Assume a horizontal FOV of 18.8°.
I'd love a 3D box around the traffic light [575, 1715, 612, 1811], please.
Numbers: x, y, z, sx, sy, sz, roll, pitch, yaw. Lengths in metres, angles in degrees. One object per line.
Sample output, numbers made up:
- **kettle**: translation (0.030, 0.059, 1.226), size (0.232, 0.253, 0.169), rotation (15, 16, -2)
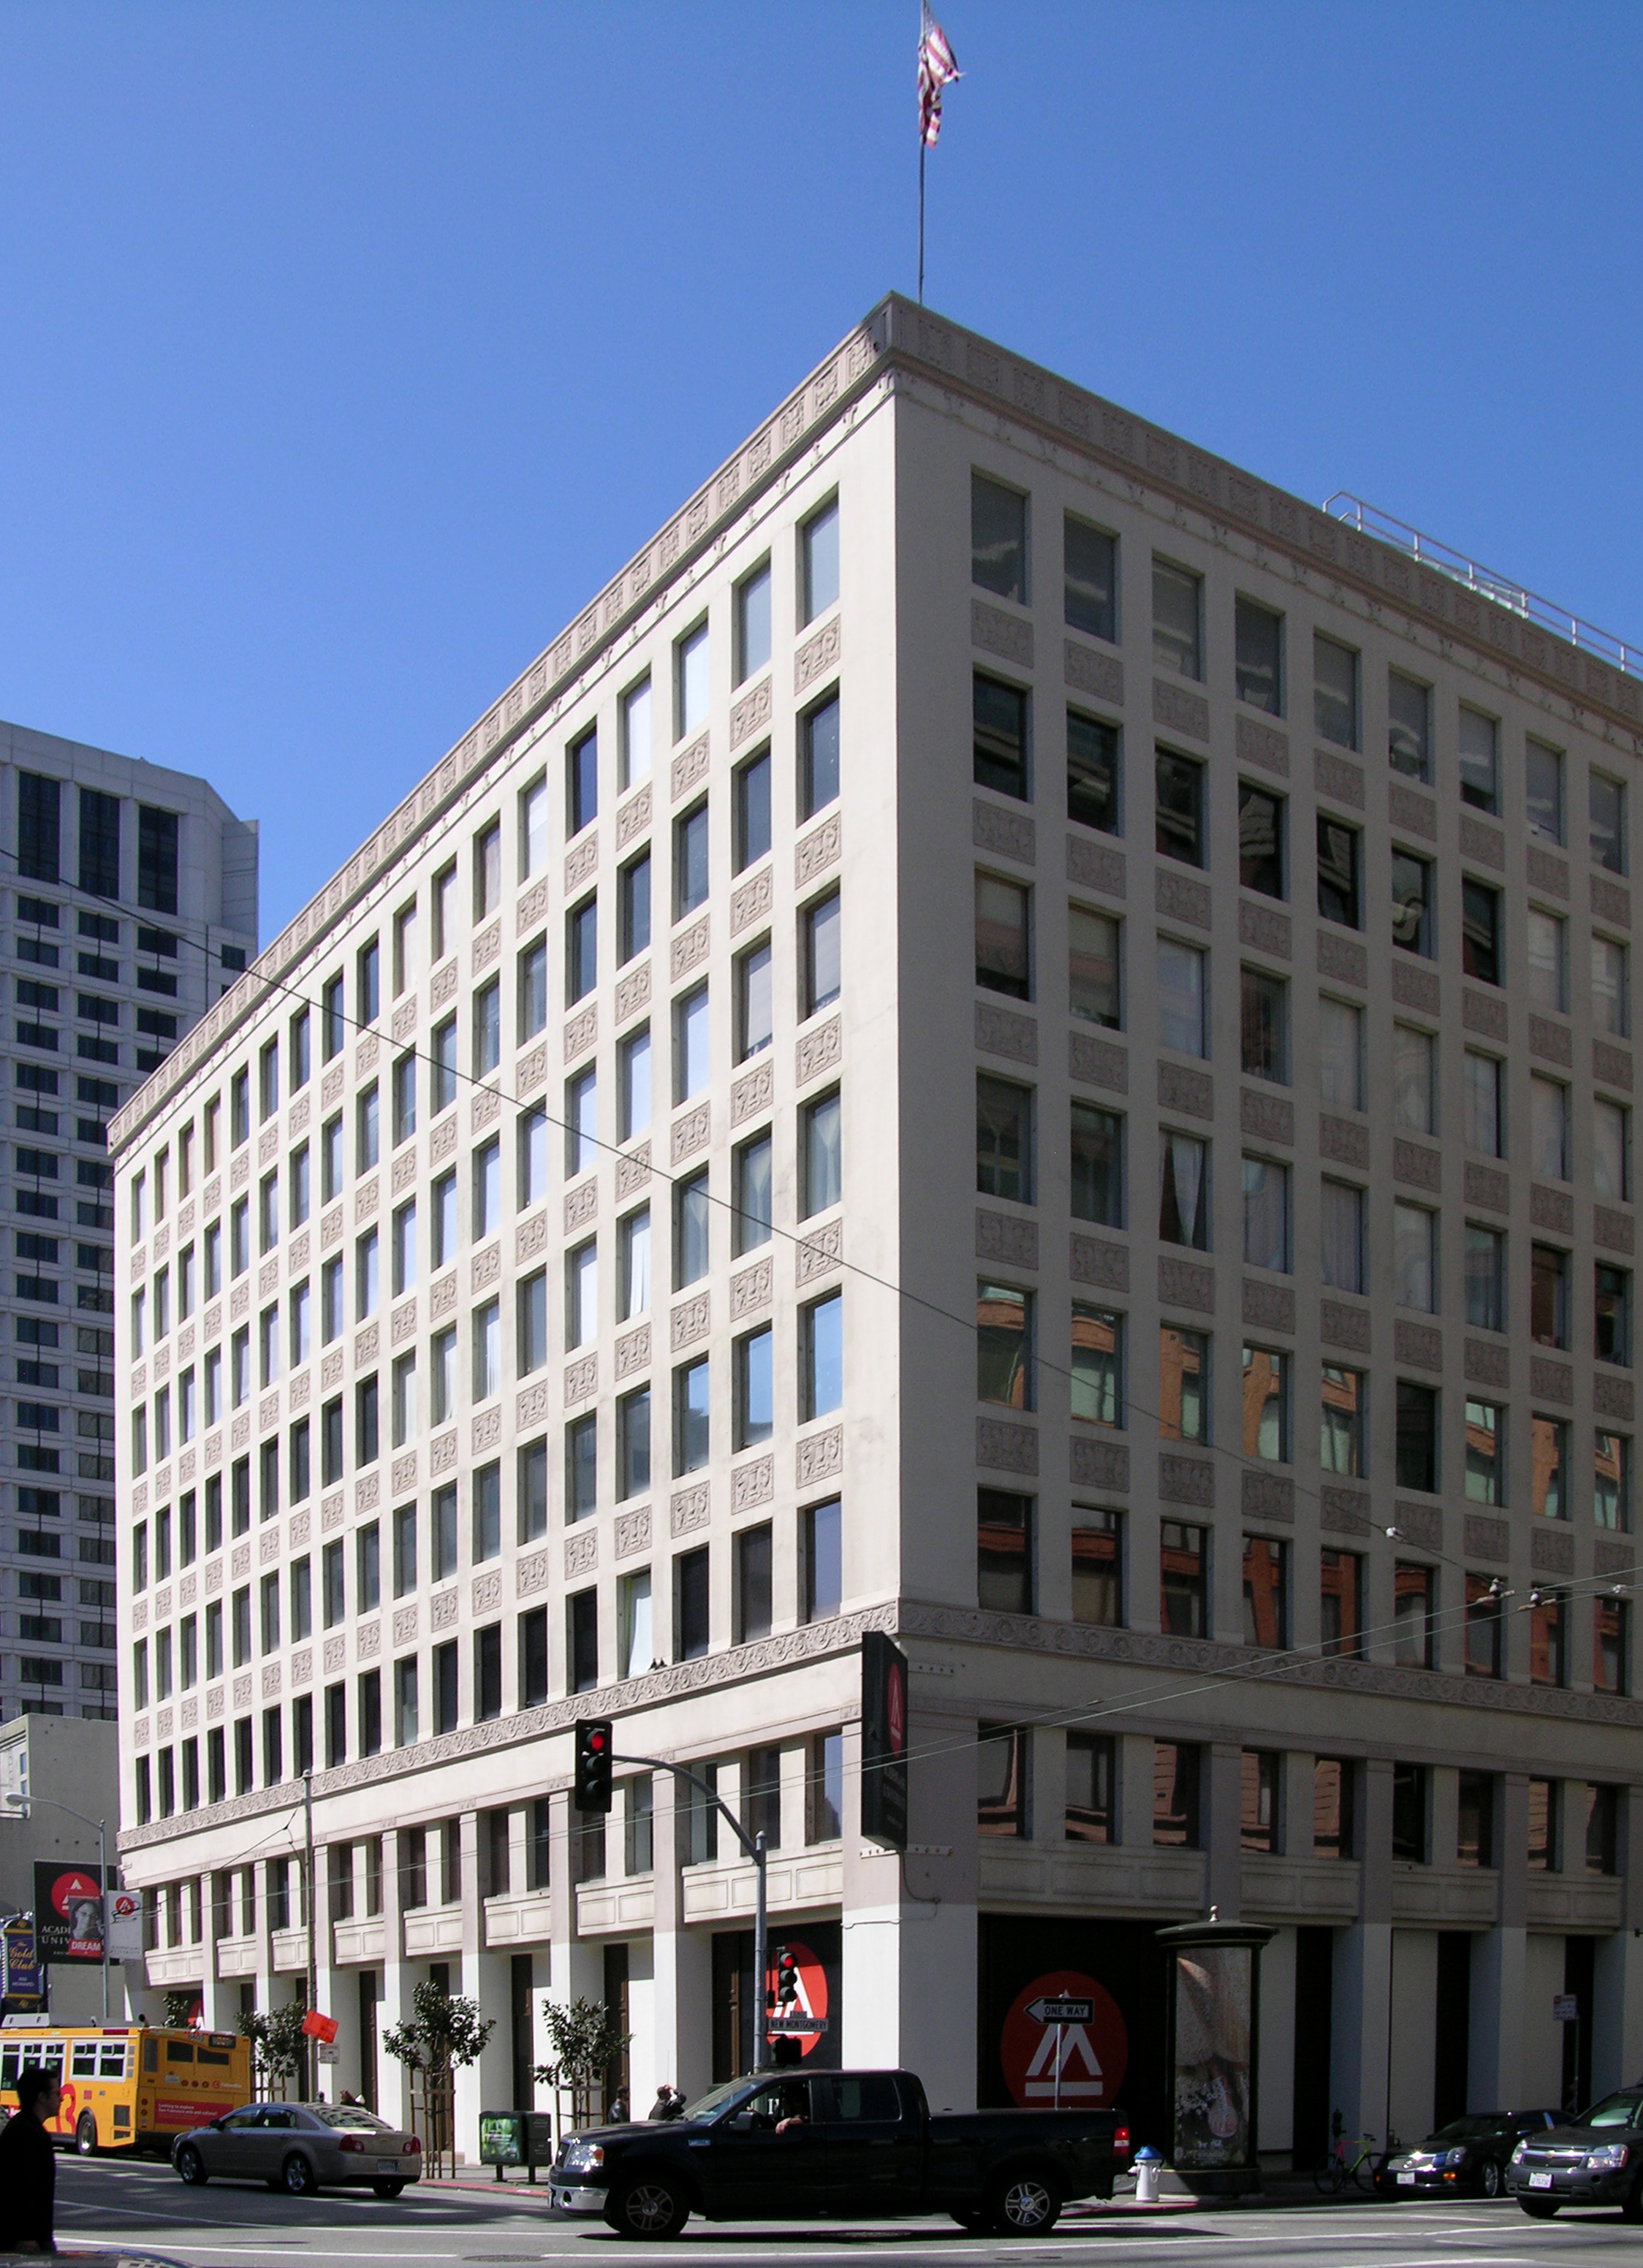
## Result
- **traffic light**: translation (-3.463, 9.374, 73.758), size (0.467, 1.482, 1.002), rotation (4, -18, -11)
